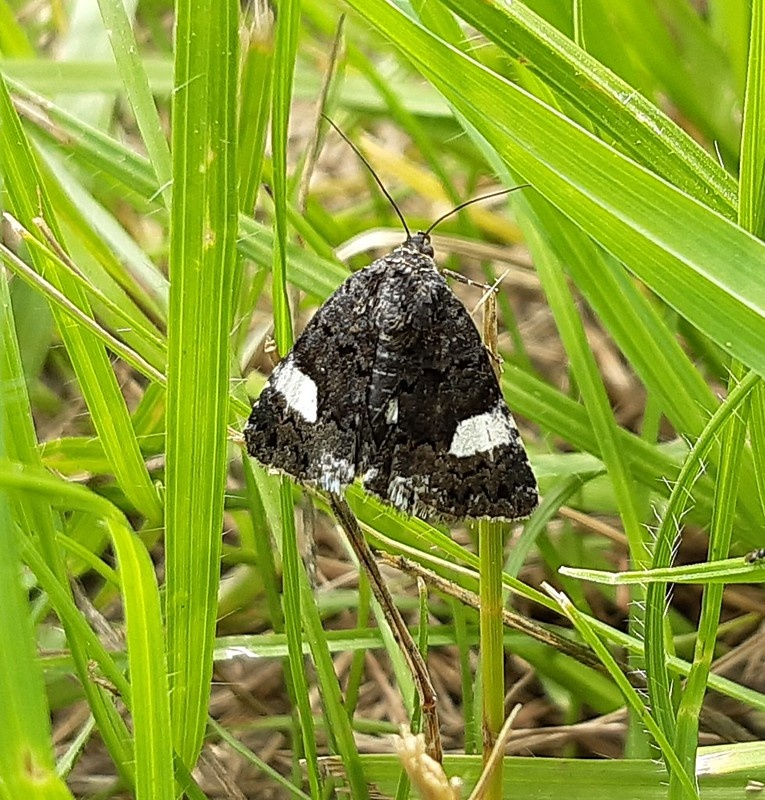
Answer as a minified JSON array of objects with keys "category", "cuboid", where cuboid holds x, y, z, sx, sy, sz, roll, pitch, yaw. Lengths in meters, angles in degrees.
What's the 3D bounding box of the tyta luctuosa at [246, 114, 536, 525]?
[{"category":"tyta luctuosa","cuboid":[0.039,-0.025,0.984,0.324,0.099,0.294,18,68,8]}]
